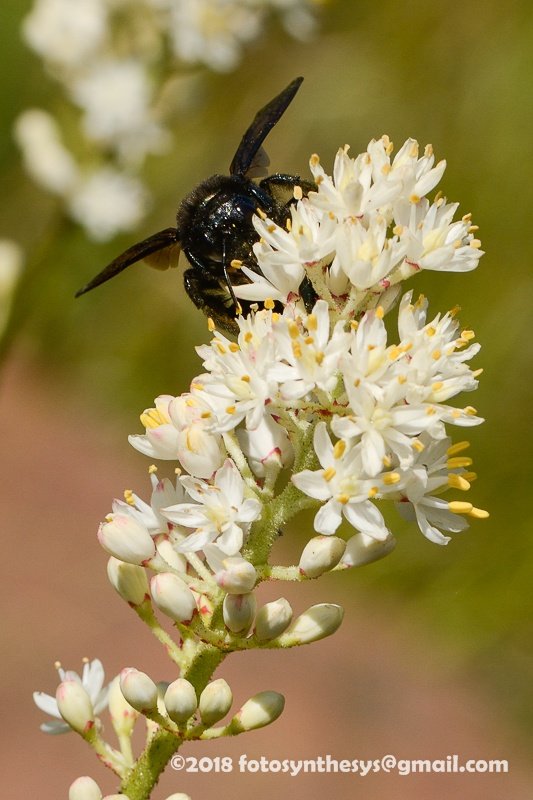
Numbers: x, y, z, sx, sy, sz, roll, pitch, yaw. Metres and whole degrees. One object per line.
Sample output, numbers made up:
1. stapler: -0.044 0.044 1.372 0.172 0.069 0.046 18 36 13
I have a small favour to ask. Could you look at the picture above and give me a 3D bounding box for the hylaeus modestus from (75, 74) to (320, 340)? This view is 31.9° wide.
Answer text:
1. hylaeus modestus: -0.170 -0.592 3.210 0.731 1.068 0.833 -18 29 -28
